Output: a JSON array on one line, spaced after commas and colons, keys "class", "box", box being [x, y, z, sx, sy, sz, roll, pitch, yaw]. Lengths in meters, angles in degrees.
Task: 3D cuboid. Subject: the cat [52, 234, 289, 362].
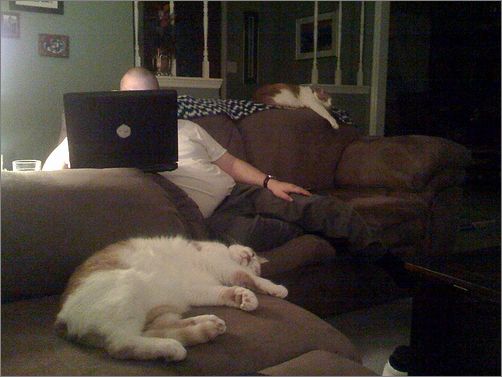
[{"class": "cat", "box": [-0.181, 0.261, 1.205, 0.475, 0.102, 0.299, -3, 17, -28]}]

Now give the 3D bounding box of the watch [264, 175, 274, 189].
[{"class": "watch", "box": [0.089, -0.034, 2.291, 0.072, 0.055, 0.044, -14, 24, -31]}]

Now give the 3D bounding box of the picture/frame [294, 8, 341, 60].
[{"class": "picture/frame", "box": [0.715, -1.705, 5.206, 0.139, 0.483, 0.681, -4, 9, -30]}]

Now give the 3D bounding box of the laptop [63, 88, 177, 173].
[{"class": "laptop", "box": [-0.508, -0.202, 1.955, 0.548, 0.346, 0.335, -1, 14, -9]}]

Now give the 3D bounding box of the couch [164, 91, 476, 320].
[{"class": "couch", "box": [0.148, 0.061, 2.632, 1.918, 0.844, 1.000, -9, 19, -22]}]
